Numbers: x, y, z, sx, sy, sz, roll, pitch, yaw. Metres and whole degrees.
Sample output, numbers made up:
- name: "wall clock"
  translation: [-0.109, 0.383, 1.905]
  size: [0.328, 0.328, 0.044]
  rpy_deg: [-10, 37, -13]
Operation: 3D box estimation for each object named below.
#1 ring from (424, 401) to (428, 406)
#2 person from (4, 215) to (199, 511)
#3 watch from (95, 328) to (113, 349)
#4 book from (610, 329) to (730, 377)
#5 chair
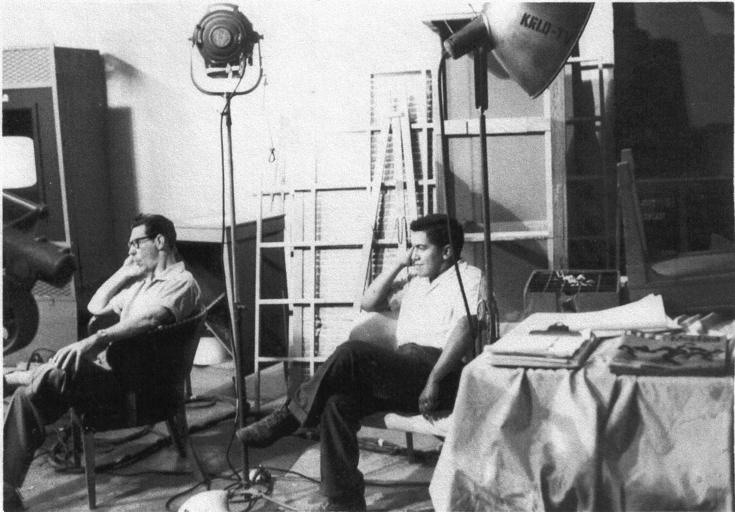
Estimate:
- name: "ring"
  translation: [0.275, 0.712, 4.487]
  size: [0.016, 0.017, 0.004]
  rpy_deg: [12, 3, 10]
- name: "person"
  translation: [-1.437, 0.532, 5.261]
  size: [1.225, 1.646, 1.174]
  rpy_deg: [1, -2, -20]
- name: "watch"
  translation: [-1.304, 0.410, 4.655]
  size: [0.064, 0.100, 0.034]
  rpy_deg: [11, 1, 13]
- name: "book"
  translation: [1.419, 0.472, 4.393]
  size: [0.446, 0.259, 0.085]
  rpy_deg: [3, -37, 4]
- name: "chair"
  translation: [-1.283, 0.715, 5.018]
  size: [0.761, 1.144, 0.975]
  rpy_deg: [1, -5, -21]
